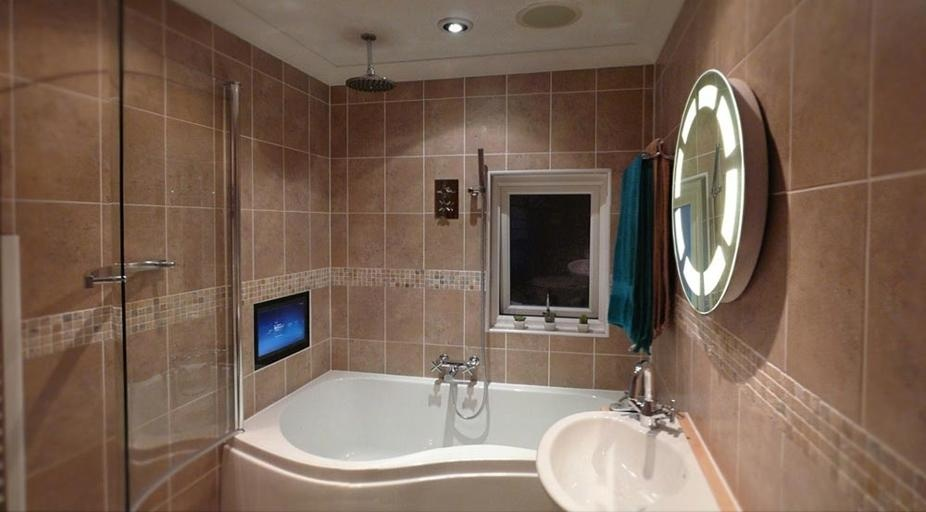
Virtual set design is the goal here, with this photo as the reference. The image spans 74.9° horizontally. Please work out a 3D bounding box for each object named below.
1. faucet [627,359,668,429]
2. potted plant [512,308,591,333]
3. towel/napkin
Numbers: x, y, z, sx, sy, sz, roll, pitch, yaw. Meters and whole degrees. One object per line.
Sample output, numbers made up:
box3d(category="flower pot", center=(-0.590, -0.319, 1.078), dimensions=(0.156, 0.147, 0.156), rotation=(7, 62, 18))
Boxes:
box3d(category="faucet", center=(0.891, 0.668, 2.926), dimensions=(0.179, 0.292, 0.228), rotation=(-1, -3, -38))
box3d(category="potted plant", center=(0.601, 0.455, 4.139), dimensions=(0.498, 0.204, 0.152), rotation=(-9, -23, 16))
box3d(category="towel/napkin", center=(1.019, -0.029, 3.410), dimensions=(0.302, 1.027, 0.687), rotation=(-1, -23, -3))
